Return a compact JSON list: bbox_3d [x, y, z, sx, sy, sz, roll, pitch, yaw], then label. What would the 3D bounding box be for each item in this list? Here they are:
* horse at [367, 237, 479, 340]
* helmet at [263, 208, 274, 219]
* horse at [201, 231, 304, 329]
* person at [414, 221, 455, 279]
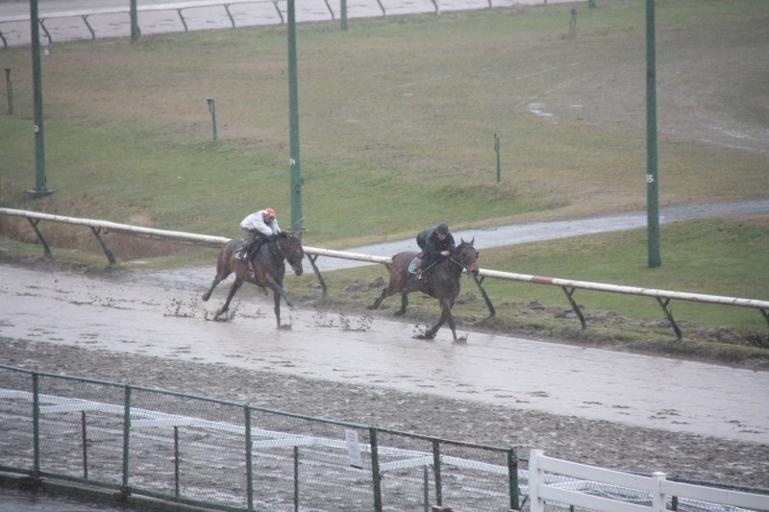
[{"bbox_3d":[1.390,0.821,52.618,1.587,2.851,3.224,-25,26,-38],"label":"horse"},{"bbox_3d":[-3.405,-1.266,53.272,0.400,0.301,0.303,-5,-8,35],"label":"helmet"},{"bbox_3d":[-3.945,0.602,53.992,1.084,2.867,4.841,1,2,-40],"label":"horse"},{"bbox_3d":[1.517,-0.153,52.251,1.261,1.643,0.687,-2,21,16],"label":"person"}]
